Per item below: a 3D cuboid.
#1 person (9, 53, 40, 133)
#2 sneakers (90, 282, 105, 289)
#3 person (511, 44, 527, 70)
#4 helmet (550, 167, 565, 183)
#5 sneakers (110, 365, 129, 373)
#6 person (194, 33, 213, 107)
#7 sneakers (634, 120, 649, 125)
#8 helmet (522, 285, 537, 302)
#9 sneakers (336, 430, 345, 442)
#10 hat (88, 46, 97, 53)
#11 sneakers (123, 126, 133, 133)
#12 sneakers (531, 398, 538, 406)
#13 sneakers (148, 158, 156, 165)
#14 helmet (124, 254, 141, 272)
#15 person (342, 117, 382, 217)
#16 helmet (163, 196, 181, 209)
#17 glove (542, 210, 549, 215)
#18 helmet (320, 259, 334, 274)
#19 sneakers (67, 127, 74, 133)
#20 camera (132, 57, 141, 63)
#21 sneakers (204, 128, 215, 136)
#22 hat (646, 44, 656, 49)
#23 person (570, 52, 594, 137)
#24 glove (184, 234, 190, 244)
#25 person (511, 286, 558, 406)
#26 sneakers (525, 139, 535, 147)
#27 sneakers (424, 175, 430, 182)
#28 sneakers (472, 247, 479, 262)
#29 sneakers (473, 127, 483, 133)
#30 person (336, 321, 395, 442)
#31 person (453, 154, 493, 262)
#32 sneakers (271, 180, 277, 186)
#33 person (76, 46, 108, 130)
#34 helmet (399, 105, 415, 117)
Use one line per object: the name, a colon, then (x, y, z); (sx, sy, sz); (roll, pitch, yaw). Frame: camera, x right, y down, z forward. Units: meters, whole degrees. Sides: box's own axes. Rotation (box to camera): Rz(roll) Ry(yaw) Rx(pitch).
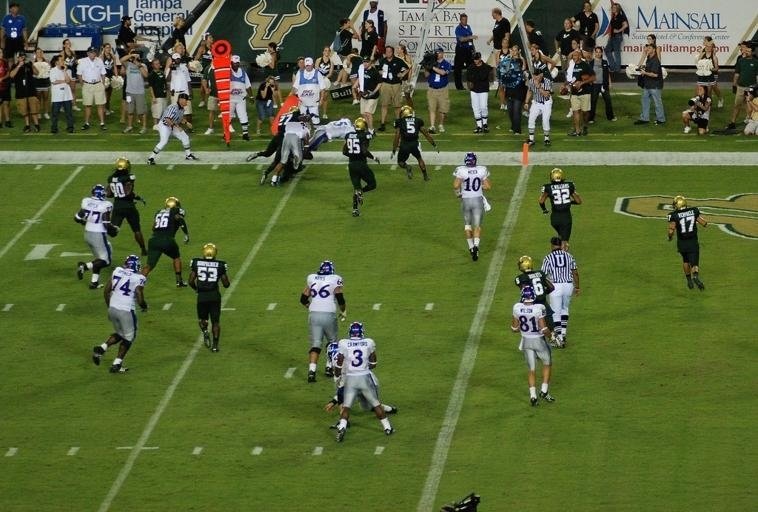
person: (-10.795, -4.970, 37.984); (0.746, 2.367, 1.228); (-5, 14, -15)
sneakers: (-6.507, 0.670, 28.609); (0.392, 0.147, 0.127); (-12, 28, -39)
person: (4.219, -5.906, 37.063); (0.490, 0.739, 1.896); (1, 12, 11)
helmet: (4.065, -1.834, 28.308); (0.364, 0.365, 0.435); (-1, 30, 1)
sneakers: (-5.286, 2.324, 25.342); (0.408, 0.132, 0.170); (1, -32, -13)
person: (-5.969, -6.072, 40.678); (0.849, 2.371, 0.782); (6, 13, 2)
sneakers: (8.080, -4.098, 38.189); (0.427, 0.159, 0.132); (0, 25, -1)
helmet: (2.851, 0.720, 23.570); (0.242, 0.268, 0.266); (-2, -11, 2)
sneakers: (-0.714, 3.342, 23.225); (0.120, 0.290, 0.136); (11, 31, 7)
hat: (-8.615, -6.149, 37.125); (0.337, 0.110, 0.245); (0, 5, 41)
sneakers: (-7.575, -3.811, 37.663); (0.314, 0.102, 0.127); (-4, -16, 9)
sneakers: (3.020, 2.839, 24.072); (0.109, 0.151, 0.168); (-1, 3, 8)
sneakers: (-6.378, -2.663, 34.781); (0.301, 0.181, 0.094); (-2, 35, -13)
helmet: (-4.980, 0.146, 25.118); (0.295, 0.282, 0.365); (8, 17, -2)
person: (-0.470, -2.303, 31.932); (0.768, 2.484, 1.070); (-2, 13, -1)
helmet: (-4.658, -1.193, 27.954); (0.492, 0.334, 0.459); (-2, 9, -3)
glove: (3.955, -1.035, 29.410); (0.136, 0.151, 0.382); (1, 7, 10)
helmet: (-1.018, 0.247, 24.581); (0.242, 0.265, 0.277); (2, 27, -4)
sneakers: (-9.362, -3.814, 37.779); (0.169, 0.148, 0.156); (-3, 9, -25)
camera: (-7.247, -5.884, 37.238); (0.176, 0.204, 0.392); (2, 13, 13)
sneakers: (-5.130, -3.753, 37.616); (0.175, 0.127, 0.366); (9, -10, -39)
hat: (8.130, -6.270, 37.053); (0.266, 0.118, 0.374); (0, 12, 6)
person: (6.018, -4.777, 36.683); (0.660, 2.544, 1.204); (0, 13, 8)
glove: (-4.423, -0.393, 28.673); (0.187, 0.214, 0.439); (-3, -3, -1)
person: (3.015, 1.730, 23.987); (0.739, 2.367, 0.858); (1, 13, 11)
sneakers: (4.434, -3.273, 36.000); (0.210, 0.141, 0.156); (-4, 27, -2)
sneakers: (1.323, -2.099, 33.677); (0.115, 0.110, 0.103); (4, 24, 3)
sneakers: (2.297, -0.039, 29.487); (0.119, 0.287, 0.127); (1, 27, 0)
sneakers: (3.015, -3.785, 37.571); (0.280, 0.111, 0.124); (1, 6, -31)
person: (-0.322, 2.356, 23.087); (0.997, 2.298, 0.548); (-2, 13, -3)
person: (2.219, -1.129, 29.345); (0.780, 2.541, 0.539); (-1, 13, 2)
sneakers: (-2.822, -1.950, 33.641); (0.097, 0.113, 0.119); (-3, -7, -5)
person: (-8.700, -5.095, 37.884); (0.835, 2.519, 1.405); (-5, 13, -12)
helmet: (0.764, -3.785, 32.615); (0.290, 0.264, 0.500); (-3, 12, -6)
